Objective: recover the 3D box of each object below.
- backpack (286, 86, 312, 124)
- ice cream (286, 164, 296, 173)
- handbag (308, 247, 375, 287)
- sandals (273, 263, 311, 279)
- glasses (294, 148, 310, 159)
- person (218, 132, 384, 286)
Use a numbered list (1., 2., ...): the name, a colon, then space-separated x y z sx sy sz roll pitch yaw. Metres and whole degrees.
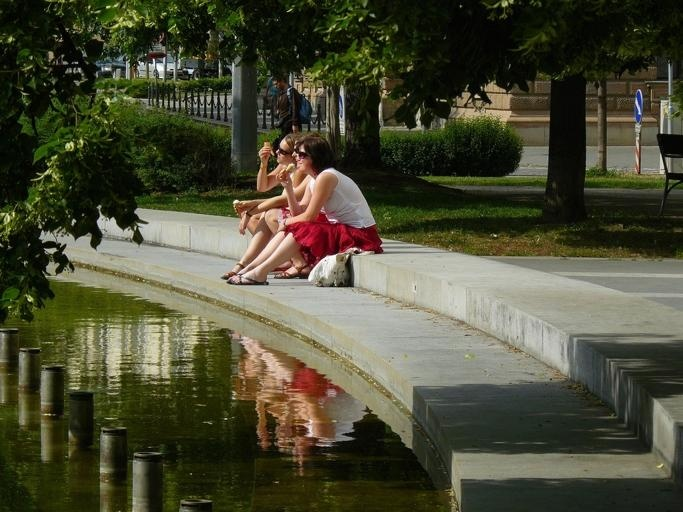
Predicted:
1. backpack: -0.645 -2.587 25.605 0.606 0.682 0.460 -1 7 -19
2. ice cream: -0.546 -0.942 15.767 0.095 0.071 0.375 -11 2 -3
3. handbag: -0.078 0.134 15.224 0.443 0.203 0.444 -7 -3 -7
4. sandals: -0.527 0.153 15.550 0.398 0.169 0.146 3 0 -4
5. glasses: -0.409 -1.044 15.208 0.112 0.038 0.109 15 4 -24
6. person: -0.323 -0.498 15.231 1.486 1.461 0.597 -5 8 -9
